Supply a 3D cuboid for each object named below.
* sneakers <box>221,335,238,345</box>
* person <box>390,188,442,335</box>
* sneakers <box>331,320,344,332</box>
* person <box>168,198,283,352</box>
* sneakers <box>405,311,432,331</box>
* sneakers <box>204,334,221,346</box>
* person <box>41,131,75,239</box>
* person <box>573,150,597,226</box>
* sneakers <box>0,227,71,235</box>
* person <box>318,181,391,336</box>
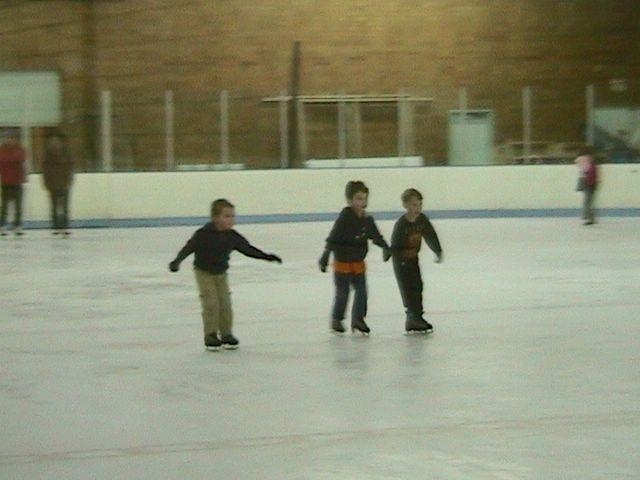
[{"bbox_3d":[-0.859,0.976,12.173,0.139,0.094,0.079,-6,2,11],"label":"sneakers"},{"bbox_3d":[0.993,0.209,12.805,0.520,1.406,0.628,0,9,3],"label":"person"},{"bbox_3d":[0.195,0.877,12.679,0.123,0.119,0.116,-1,-6,1],"label":"sneakers"},{"bbox_3d":[-0.958,0.355,12.111,0.887,1.401,0.387,-2,9,-10],"label":"person"},{"bbox_3d":[1.009,0.843,12.696,0.239,0.154,0.146,-3,-1,7],"label":"sneakers"},{"bbox_3d":[-1.010,0.966,12.036,0.120,0.086,0.117,1,-6,-11],"label":"sneakers"},{"bbox_3d":[-4.824,-1.046,23.312,0.540,2.206,0.544,22,32,31],"label":"person"},{"bbox_3d":[4.851,-0.849,22.562,0.376,1.208,1.330,1,9,12],"label":"person"},{"bbox_3d":[-4.988,-0.117,22.100,0.682,0.093,0.111,4,-20,16],"label":"sneakers"},{"bbox_3d":[0.353,0.198,12.592,0.673,1.505,0.344,-1,9,2],"label":"person"}]
